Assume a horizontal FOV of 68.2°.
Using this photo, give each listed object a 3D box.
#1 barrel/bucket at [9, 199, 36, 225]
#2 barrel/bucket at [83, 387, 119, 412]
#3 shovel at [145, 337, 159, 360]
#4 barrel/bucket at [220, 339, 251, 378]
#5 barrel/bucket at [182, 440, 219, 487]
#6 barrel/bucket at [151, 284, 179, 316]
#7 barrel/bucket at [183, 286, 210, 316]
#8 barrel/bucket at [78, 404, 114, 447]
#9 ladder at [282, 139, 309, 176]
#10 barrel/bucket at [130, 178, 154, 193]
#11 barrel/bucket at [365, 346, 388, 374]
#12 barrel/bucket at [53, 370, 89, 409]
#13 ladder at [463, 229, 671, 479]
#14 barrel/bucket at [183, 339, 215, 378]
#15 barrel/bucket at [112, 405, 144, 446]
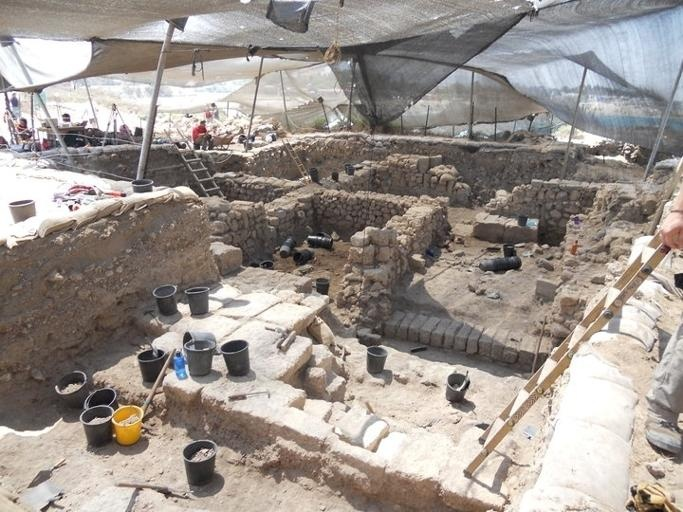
[{"bbox_3d":[-3.361,-0.499,5.419,0.312,0.280,0.275,4,32,-22],"label":"barrel/bucket"},{"bbox_3d":[-2.283,1.346,4.797,0.257,0.177,0.249,3,12,-1],"label":"barrel/bucket"},{"bbox_3d":[-1.933,0.957,5.181,0.067,0.037,0.267,-24,35,-16],"label":"shovel"},{"bbox_3d":[-0.989,0.986,4.959,0.364,0.254,0.341,-2,13,1],"label":"barrel/bucket"},{"bbox_3d":[-1.185,1.768,4.380,0.360,0.243,0.360,2,8,0],"label":"barrel/bucket"},{"bbox_3d":[-1.909,0.488,5.757,0.365,0.302,0.322,0,18,-2],"label":"barrel/bucket"},{"bbox_3d":[-1.644,0.506,5.806,0.337,0.268,0.317,-2,10,0],"label":"barrel/bucket"},{"bbox_3d":[-2.142,1.520,4.633,0.367,0.289,0.351,2,14,0],"label":"barrel/bucket"},{"bbox_3d":[-1.513,-3.157,16.464,0.808,1.114,1.160,-1,24,-6],"label":"ladder"},{"bbox_3d":[-2.410,-0.896,6.220,0.226,0.075,0.220,3,22,-1],"label":"barrel/bucket"},{"bbox_3d":[0.426,1.310,6.442,0.330,0.265,0.330,1,16,0],"label":"barrel/bucket"},{"bbox_3d":[-2.578,1.288,4.881,0.364,0.252,0.343,6,31,-4],"label":"barrel/bucket"},{"bbox_3d":[1.741,0.738,3.934,1.444,1.992,0.496,-10,28,-24],"label":"ladder"},{"bbox_3d":[-1.309,0.983,4.948,0.363,0.303,0.370,2,9,0],"label":"barrel/bucket"},{"bbox_3d":[-1.921,1.559,4.659,0.345,0.225,0.327,4,11,-1],"label":"barrel/bucket"}]
